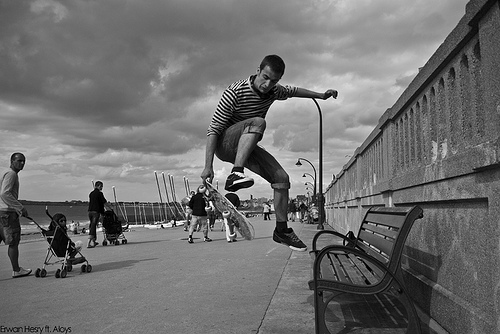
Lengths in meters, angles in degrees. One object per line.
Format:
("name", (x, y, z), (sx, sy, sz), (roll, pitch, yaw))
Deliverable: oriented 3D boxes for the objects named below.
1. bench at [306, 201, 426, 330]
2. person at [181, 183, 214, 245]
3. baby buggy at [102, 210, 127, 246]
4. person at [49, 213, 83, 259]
("bench", (1.608, 1.349, 4.374), (0.924, 1.041, 1.973), (0, -10, 7))
("person", (-2.322, 2.218, 14.910), (1.214, 2.706, 0.934), (-2, -20, 7))
("baby buggy", (-5.974, 2.616, 13.658), (0.757, 1.529, 1.237), (-4, -5, -12))
("person", (-4.865, 1.822, 8.353), (0.662, 1.196, 1.427), (-2, -7, -31))
